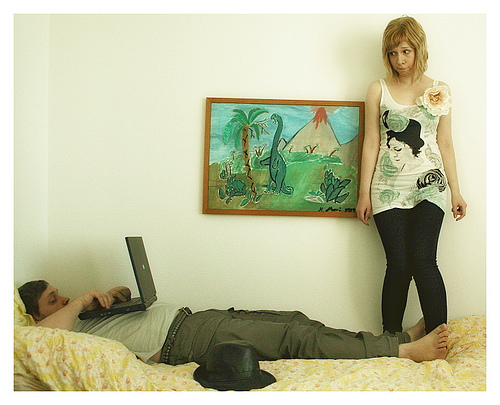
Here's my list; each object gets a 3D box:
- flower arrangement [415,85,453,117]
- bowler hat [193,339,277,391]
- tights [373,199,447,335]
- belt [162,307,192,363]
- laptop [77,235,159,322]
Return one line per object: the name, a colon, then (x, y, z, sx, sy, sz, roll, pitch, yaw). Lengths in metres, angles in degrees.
flower arrangement: (1.076, -0.596, 2.429, 0.197, 0.182, 0.065, -4, 9, 2)
bowler hat: (-0.078, 0.755, 1.981, 0.396, 0.171, 0.437, 3, -12, -36)
tights: (0.940, 0.352, 2.469, 0.432, 1.140, 0.268, -7, 13, 9)
belt: (-0.372, 0.696, 2.169, 0.065, 0.220, 0.159, 27, -9, -7)
laptop: (-0.777, 0.432, 2.427, 0.394, 0.394, 0.490, -5, -6, -6)
